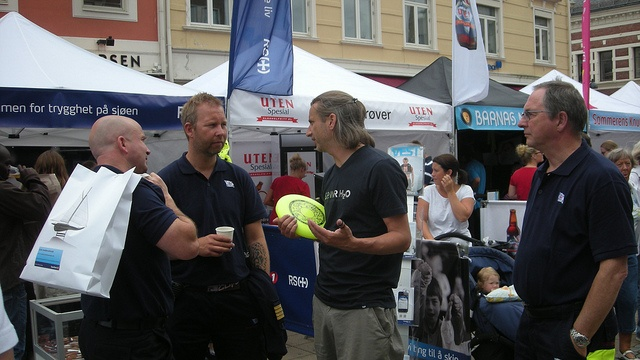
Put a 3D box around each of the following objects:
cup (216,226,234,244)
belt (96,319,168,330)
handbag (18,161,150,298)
[{"bbox_3d":[-1.081,0.613,6.760,0.188,0.173,0.163,-2,5,-16],"label":"cup"},{"bbox_3d":[-2.006,1.520,6.302,0.686,0.117,0.088,-1,4,-7],"label":"belt"},{"bbox_3d":[-2.379,0.508,6.090,0.966,1.296,0.410,0,5,13],"label":"handbag"}]
